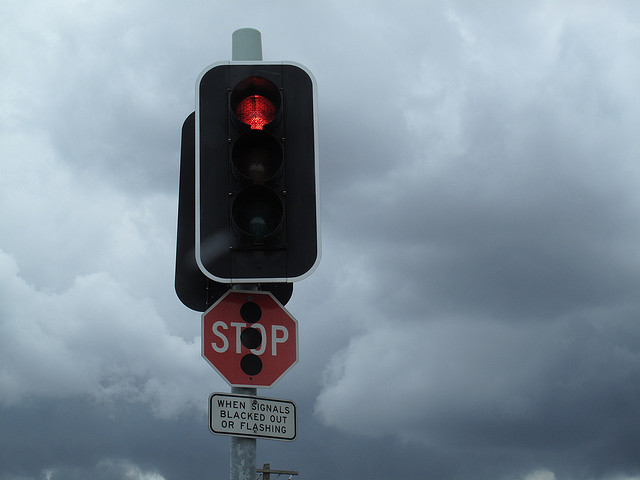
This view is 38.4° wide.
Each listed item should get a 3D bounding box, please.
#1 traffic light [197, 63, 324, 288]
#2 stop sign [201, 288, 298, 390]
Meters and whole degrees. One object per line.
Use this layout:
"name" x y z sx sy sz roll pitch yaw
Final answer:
"traffic light" -0.491 -0.417 7.014 0.930 1.760 0.948 -1 -22 -5
"stop sign" -0.508 0.720 6.675 0.844 0.910 0.094 1 -4 -4
